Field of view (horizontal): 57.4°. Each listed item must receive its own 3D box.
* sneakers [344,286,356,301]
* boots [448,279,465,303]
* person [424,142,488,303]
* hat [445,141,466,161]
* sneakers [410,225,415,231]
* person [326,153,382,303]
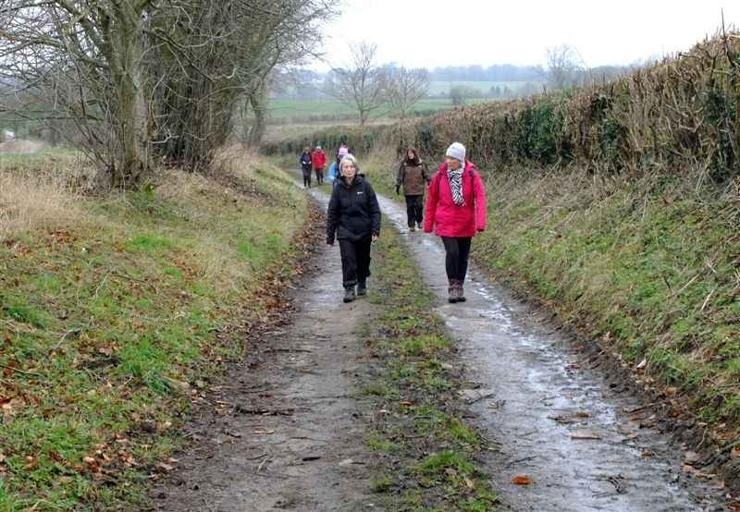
[{"bbox_3d":[-0.369,0.665,11.644,0.214,0.242,0.282,-2,13,-2],"label":"sneakers"},{"bbox_3d":[1.449,0.636,11.473,0.211,0.422,0.418,1,-12,0],"label":"boots"},{"bbox_3d":[1.433,-0.547,11.500,1.107,2.682,0.948,2,13,19],"label":"person"},{"bbox_3d":[1.448,-1.788,11.369,0.342,0.396,0.420,5,-6,9],"label":"hat"},{"bbox_3d":[1.118,-0.724,18.142,0.108,0.131,0.114,2,11,9],"label":"sneakers"},{"bbox_3d":[-0.295,-0.497,11.718,0.883,2.457,0.840,-2,12,0],"label":"person"}]
